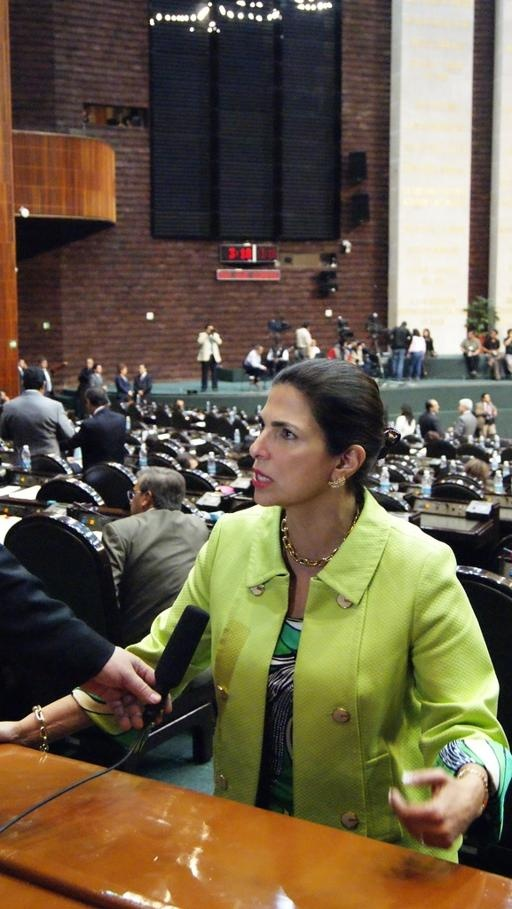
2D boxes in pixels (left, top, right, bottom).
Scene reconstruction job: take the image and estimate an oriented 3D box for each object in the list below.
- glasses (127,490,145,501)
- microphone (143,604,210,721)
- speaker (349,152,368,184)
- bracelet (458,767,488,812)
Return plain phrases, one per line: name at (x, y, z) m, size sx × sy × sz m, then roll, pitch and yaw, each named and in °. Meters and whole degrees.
glasses at (-0.548, 0.179, 3.680) m, size 0.093 × 0.034 × 0.103 m, roll 1°, pitch -10°, yaw 10°
microphone at (-0.107, 0.285, 1.112) m, size 0.098 × 0.176 × 0.081 m, roll 2°, pitch 3°, yaw 15°
speaker at (2.339, -6.762, 18.942) m, size 0.392 × 0.639 × 0.537 m, roll 1°, pitch 3°, yaw -5°
bracelet at (0.265, 0.401, 0.983) m, size 0.036 × 0.052 × 0.013 m, roll -6°, pitch -7°, yaw 33°
